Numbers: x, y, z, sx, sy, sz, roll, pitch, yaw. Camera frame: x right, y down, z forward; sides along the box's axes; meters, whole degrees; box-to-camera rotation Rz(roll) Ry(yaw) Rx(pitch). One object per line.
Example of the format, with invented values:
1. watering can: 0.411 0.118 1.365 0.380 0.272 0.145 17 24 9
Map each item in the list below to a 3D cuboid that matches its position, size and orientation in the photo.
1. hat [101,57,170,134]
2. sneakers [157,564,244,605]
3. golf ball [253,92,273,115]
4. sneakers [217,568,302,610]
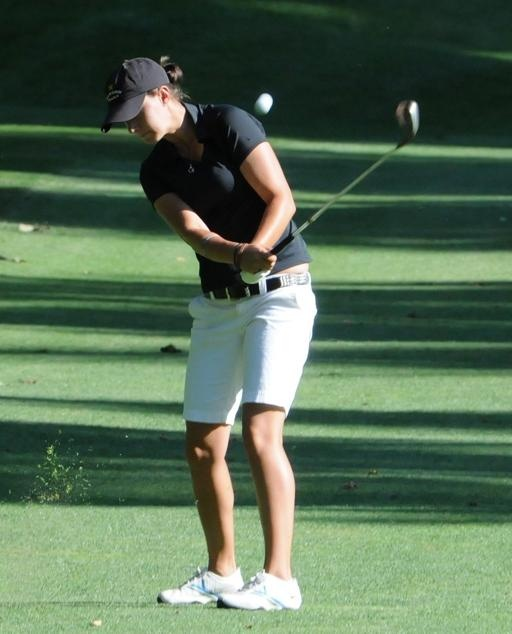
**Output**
1. hat: -0.344 -0.614 2.565 0.180 0.145 0.209 7 3 7
2. sneakers: -0.150 0.748 2.671 0.292 0.091 0.086 -5 -2 -4
3. golf ball: 0.021 -0.636 2.835 0.084 0.067 0.091 -1 8 0
4. sneakers: 0.040 0.716 2.501 0.141 0.085 0.255 1 -29 3
